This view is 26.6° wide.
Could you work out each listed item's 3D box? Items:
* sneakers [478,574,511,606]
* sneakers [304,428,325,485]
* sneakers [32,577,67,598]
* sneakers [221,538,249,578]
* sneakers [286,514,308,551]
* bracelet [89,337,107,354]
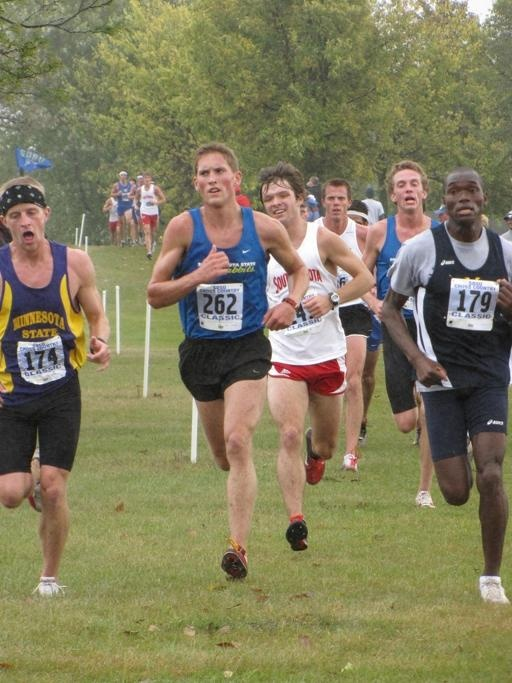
[{"bbox_3d":[1.138,1.192,5.208,0.101,0.055,0.153,3,22,-1],"label":"sneakers"},{"bbox_3d":[0.427,0.911,8.164,0.165,0.391,0.179,-6,27,-5],"label":"sneakers"},{"bbox_3d":[-1.025,1.237,5.422,0.105,0.064,0.120,-5,-13,20],"label":"sneakers"},{"bbox_3d":[-0.105,1.148,5.709,0.112,0.220,0.100,-8,46,18],"label":"sneakers"},{"bbox_3d":[0.224,1.110,6.232,0.101,0.228,0.103,1,50,-3],"label":"sneakers"},{"bbox_3d":[-0.813,0.020,5.654,0.067,0.046,0.090,26,23,9],"label":"bracelet"}]
